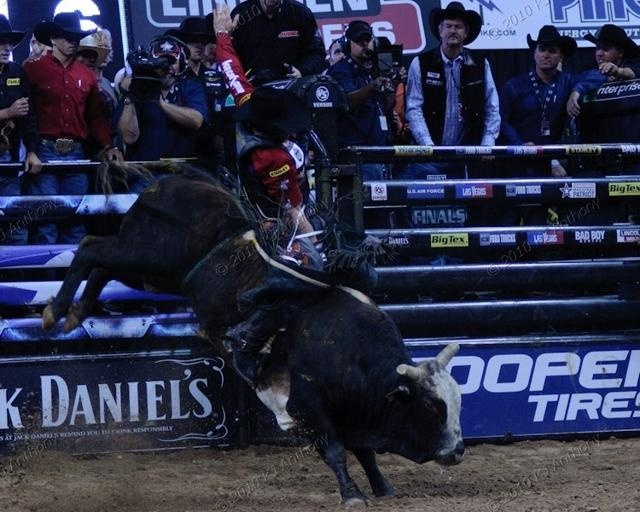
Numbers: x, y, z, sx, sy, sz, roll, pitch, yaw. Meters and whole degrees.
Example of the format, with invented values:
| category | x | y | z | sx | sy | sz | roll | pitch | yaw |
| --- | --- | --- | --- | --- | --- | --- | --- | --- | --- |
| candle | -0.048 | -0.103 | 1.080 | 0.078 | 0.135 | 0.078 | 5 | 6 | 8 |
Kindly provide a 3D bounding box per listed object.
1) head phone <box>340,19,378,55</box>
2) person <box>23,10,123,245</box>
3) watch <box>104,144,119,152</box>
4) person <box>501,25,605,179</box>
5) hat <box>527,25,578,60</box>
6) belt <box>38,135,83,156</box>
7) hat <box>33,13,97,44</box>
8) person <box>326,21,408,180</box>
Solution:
| category | x | y | z | sx | sy | sz | roll | pitch | yaw |
| --- | --- | --- | --- | --- | --- | --- | --- | --- | --- |
| head phone | 0.368 | -2.150 | 12.856 | 0.294 | 0.284 | 0.364 | -1 | -3 | -20 |
| person | -2.441 | -1.132 | 12.623 | 1.092 | 2.274 | 0.728 | -4 | 34 | 6 |
| watch | -1.943 | -1.010 | 12.184 | 0.093 | 0.065 | 0.089 | 1 | -4 | 8 |
| person | 2.239 | -1.573 | 13.221 | 0.839 | 1.484 | 0.847 | -3 | 7 | -12 |
| hat | 2.399 | -2.216 | 13.428 | 0.457 | 0.346 | 0.544 | -1 | 6 | 4 |
| belt | -2.432 | -1.023 | 12.329 | 0.409 | 0.198 | 0.190 | -3 | 7 | -14 |
| hat | -2.397 | -2.215 | 12.452 | 0.482 | 0.176 | 0.483 | -8 | 8 | -32 |
| person | 0.416 | -1.518 | 12.853 | 0.854 | 1.412 | 0.715 | 5 | 22 | 9 |
